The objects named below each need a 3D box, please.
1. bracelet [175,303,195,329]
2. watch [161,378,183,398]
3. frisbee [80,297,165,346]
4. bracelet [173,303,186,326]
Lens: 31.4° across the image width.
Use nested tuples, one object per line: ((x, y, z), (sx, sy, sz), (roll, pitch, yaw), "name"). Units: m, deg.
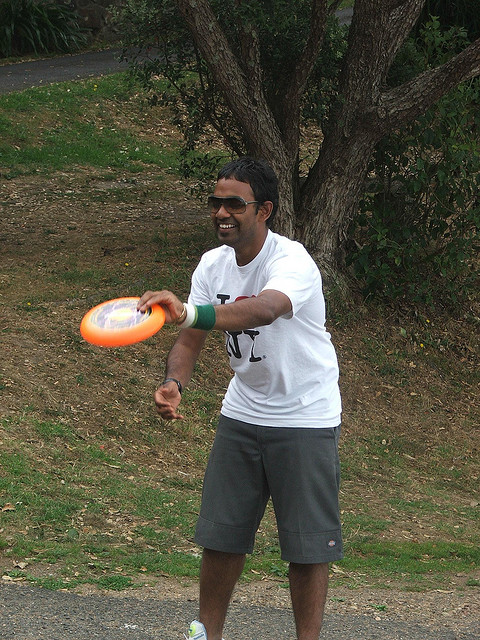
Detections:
((-0.199, -0.018, 3.331), (0.089, 0.082, 0.040), (-9, -16, 43), "bracelet")
((-0.310, 0.308, 3.813), (0.060, 0.074, 0.092), (-23, -9, 37), "watch")
((-0.489, 0.001, 3.483), (0.269, 0.205, 0.432), (9, 7, -19), "frisbee")
((-0.242, -0.016, 3.347), (0.020, 0.063, 0.070), (29, 9, -11), "bracelet")
